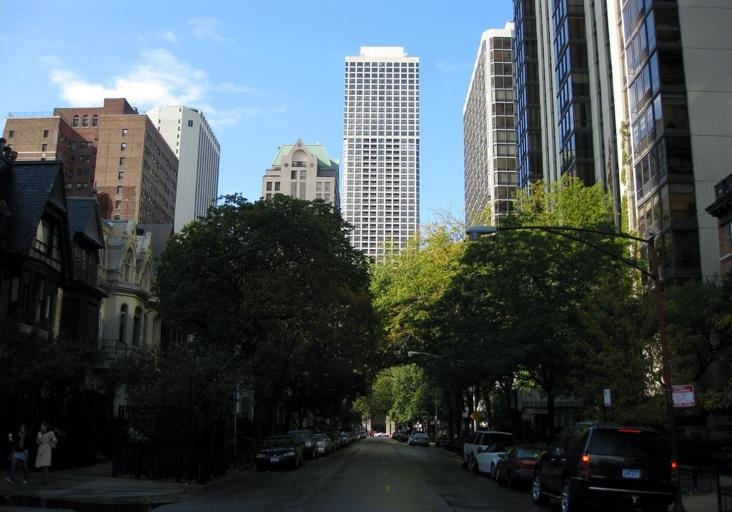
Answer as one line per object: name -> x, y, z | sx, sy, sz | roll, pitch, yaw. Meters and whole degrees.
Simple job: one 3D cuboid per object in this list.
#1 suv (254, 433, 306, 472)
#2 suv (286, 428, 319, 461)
suv -> -5.238, 11.891, 56.783 | 2.469, 2.037, 4.131 | 0, -8, -4
suv -> -4.502, 13.146, 66.530 | 1.670, 1.765, 3.381 | -2, -33, 2
